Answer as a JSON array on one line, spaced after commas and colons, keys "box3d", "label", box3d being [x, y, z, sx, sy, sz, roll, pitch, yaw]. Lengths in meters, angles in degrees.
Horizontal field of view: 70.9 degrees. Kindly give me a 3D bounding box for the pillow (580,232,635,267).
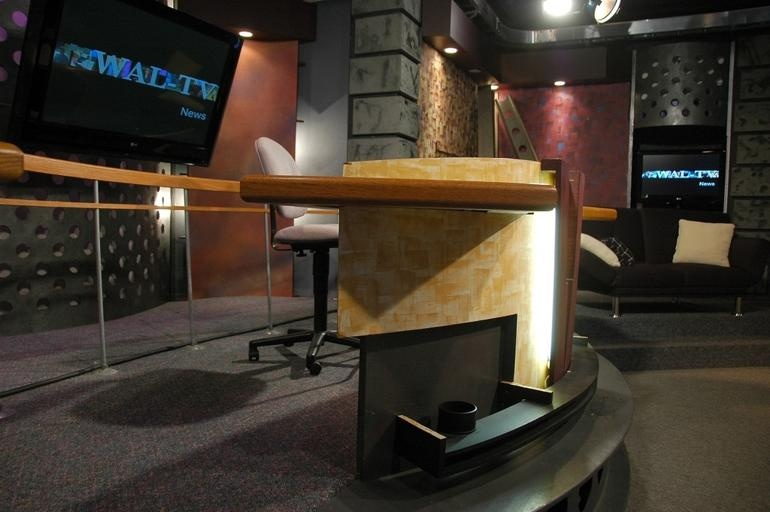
[{"box3d": [2.108, -0.066, 5.102, 0.415, 0.331, 0.806, 5, 16, 27], "label": "pillow"}]
